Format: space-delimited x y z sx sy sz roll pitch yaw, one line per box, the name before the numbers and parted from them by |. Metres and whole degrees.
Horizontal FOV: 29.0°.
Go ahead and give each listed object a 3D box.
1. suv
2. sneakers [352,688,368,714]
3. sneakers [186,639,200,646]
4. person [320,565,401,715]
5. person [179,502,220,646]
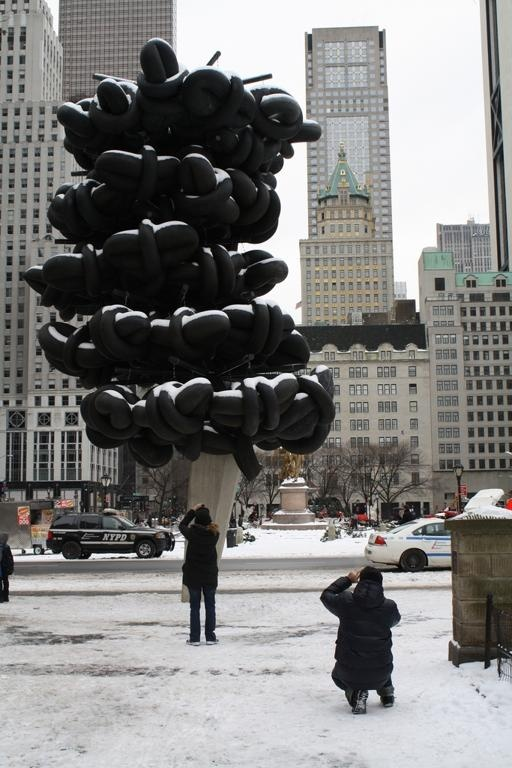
suv | -4.483 4.548 29.538 3.403 1.348 1.580 -2 -7 9
sneakers | 0.860 2.669 8.315 0.121 0.188 0.205 0 -5 5
sneakers | -0.750 3.046 11.661 0.163 0.069 0.212 0 -5 3
person | 0.884 2.160 8.439 0.630 1.221 0.449 -1 -5 13
person | -0.688 2.271 11.804 0.470 1.644 0.690 0 -5 -3
